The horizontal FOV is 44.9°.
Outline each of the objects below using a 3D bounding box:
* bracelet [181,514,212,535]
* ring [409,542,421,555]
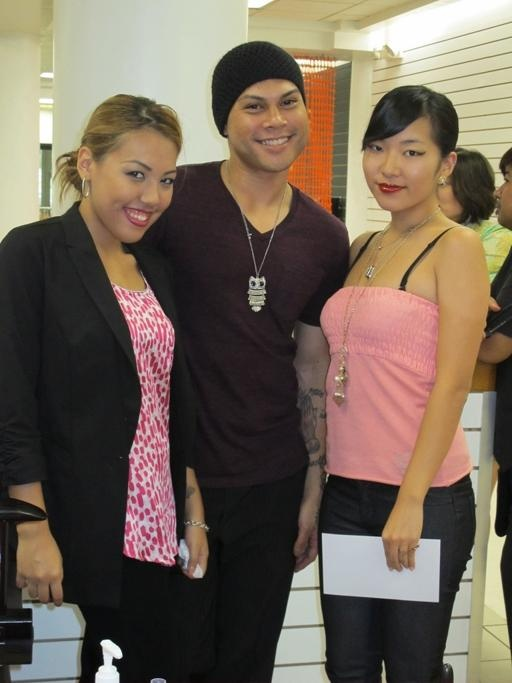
[{"bbox_3d":[-0.135,0.409,1.398,0.088,0.029,0.021,19,-7,-22],"label":"bracelet"},{"bbox_3d":[0.321,0.412,1.243,0.021,0.026,0.025,8,25,8],"label":"ring"}]
